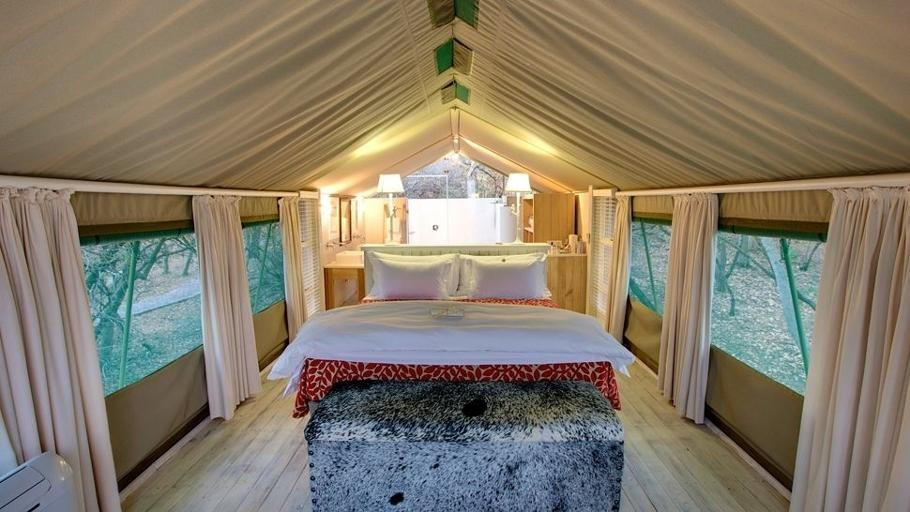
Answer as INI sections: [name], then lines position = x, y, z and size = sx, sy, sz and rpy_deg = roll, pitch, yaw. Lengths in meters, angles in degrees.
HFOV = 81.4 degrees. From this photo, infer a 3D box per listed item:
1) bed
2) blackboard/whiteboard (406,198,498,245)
[bed]
position = 0.047, 0.603, 5.447
size = 2.769, 1.097, 3.006
rpy_deg = 0, 4, 6
[blackboard/whiteboard]
position = -0.030, -0.768, 11.610
size = 1.452, 0.786, 0.050
rpy_deg = 0, 6, 1
